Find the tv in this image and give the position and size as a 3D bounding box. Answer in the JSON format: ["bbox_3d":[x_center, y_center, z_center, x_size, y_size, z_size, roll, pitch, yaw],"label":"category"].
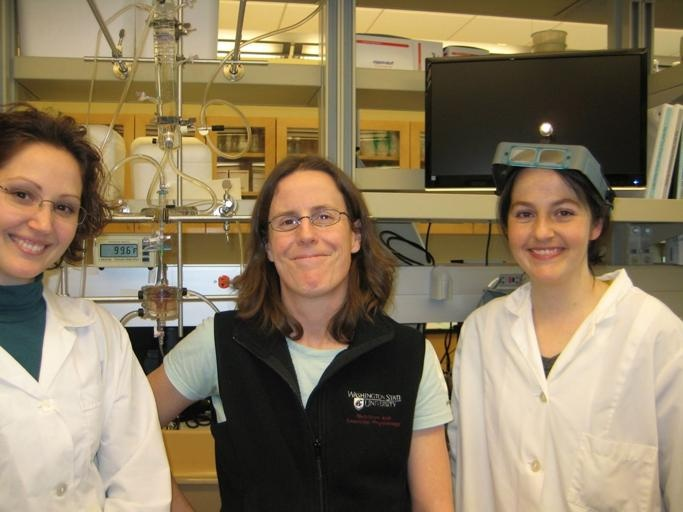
[{"bbox_3d":[0.770,-0.530,2.597,0.605,0.400,0.061,0,-2,7],"label":"tv"}]

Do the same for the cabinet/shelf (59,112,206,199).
[{"bbox_3d":[-0.823,-0.391,2.688,0.394,0.344,0.407,0,21,-9],"label":"cabinet/shelf"}]
